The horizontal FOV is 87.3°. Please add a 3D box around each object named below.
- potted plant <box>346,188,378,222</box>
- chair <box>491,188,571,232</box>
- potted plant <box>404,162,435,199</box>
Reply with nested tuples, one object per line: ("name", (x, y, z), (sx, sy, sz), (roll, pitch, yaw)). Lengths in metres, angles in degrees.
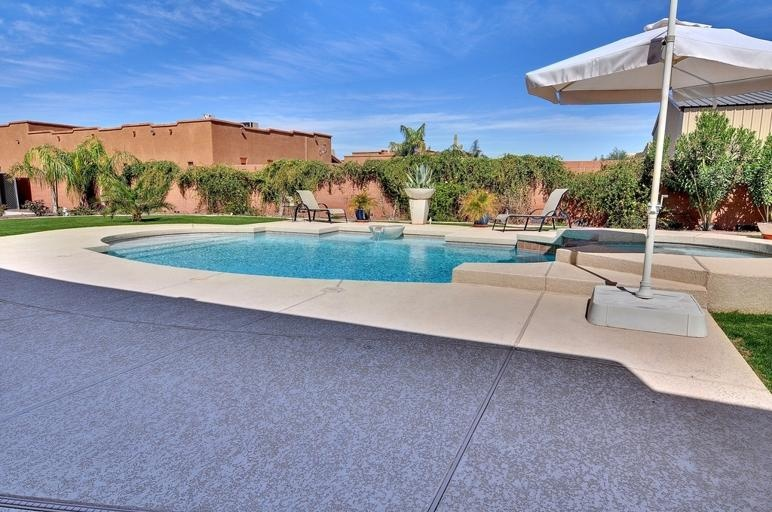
("potted plant", (-0.832, -1.985, 15.854), (1.317, 1.286, 1.302), (0, 5, -7))
("chair", (3.891, -1.179, 10.678), (1.726, 1.033, 0.810), (-1, 5, 0))
("potted plant", (1.363, -2.496, 14.217), (0.853, 0.952, 0.809), (-1, 11, -31))
